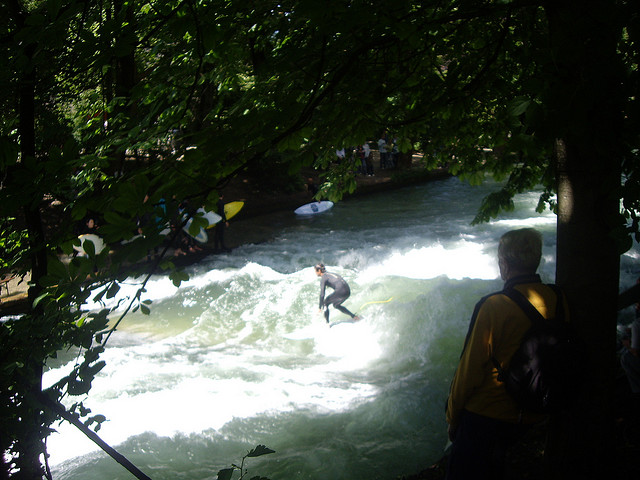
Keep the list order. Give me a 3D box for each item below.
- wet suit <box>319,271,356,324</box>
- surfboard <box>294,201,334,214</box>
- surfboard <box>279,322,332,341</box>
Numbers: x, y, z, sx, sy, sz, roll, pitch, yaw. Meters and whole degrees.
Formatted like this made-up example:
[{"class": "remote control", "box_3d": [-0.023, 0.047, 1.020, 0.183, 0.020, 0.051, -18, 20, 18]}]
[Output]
[{"class": "wet suit", "box_3d": [0.284, 1.271, 11.019, 0.912, 1.320, 0.911, -7, -2, -18]}, {"class": "surfboard", "box_3d": [-0.226, -1.281, 19.270, 1.586, 0.396, 0.525, -16, 16, -35]}, {"class": "surfboard", "box_3d": [-0.307, 2.049, 10.632, 1.074, 0.057, 0.549, -14, 15, -28]}]
